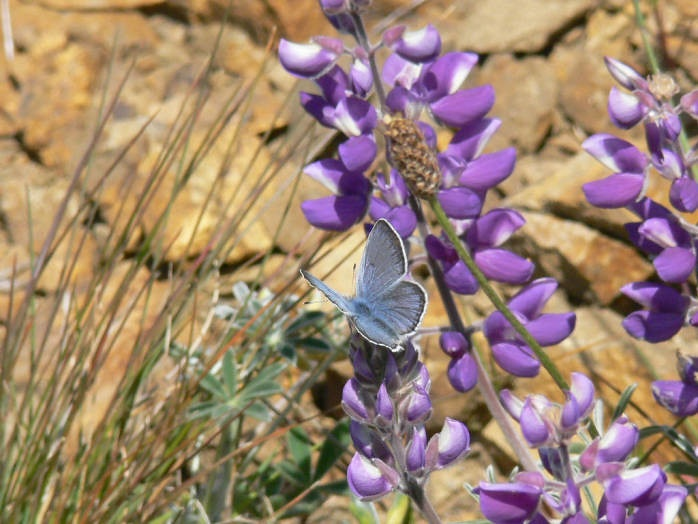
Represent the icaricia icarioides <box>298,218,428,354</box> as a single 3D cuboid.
[{"bbox_3d":[0.049,0.042,2.412,0.282,0.137,0.211,41,82,5],"label":"icaricia icarioides"}]
